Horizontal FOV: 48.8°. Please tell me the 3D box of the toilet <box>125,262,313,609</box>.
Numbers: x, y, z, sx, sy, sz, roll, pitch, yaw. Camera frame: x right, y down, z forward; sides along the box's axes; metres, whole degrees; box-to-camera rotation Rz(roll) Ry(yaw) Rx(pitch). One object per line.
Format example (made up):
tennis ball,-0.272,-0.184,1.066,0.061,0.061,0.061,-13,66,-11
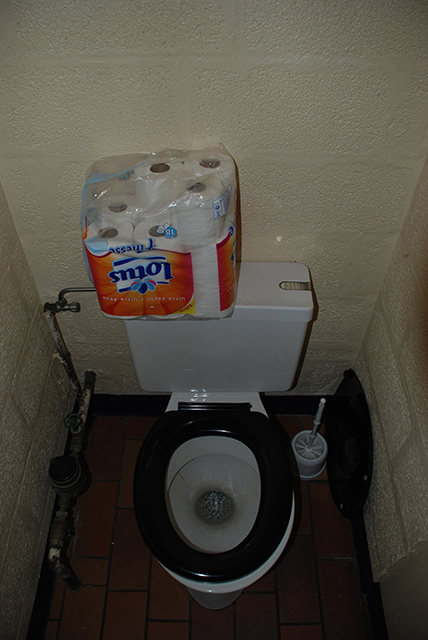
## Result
toilet,0.031,0.340,1.192,0.434,0.751,0.814,0,49,1
